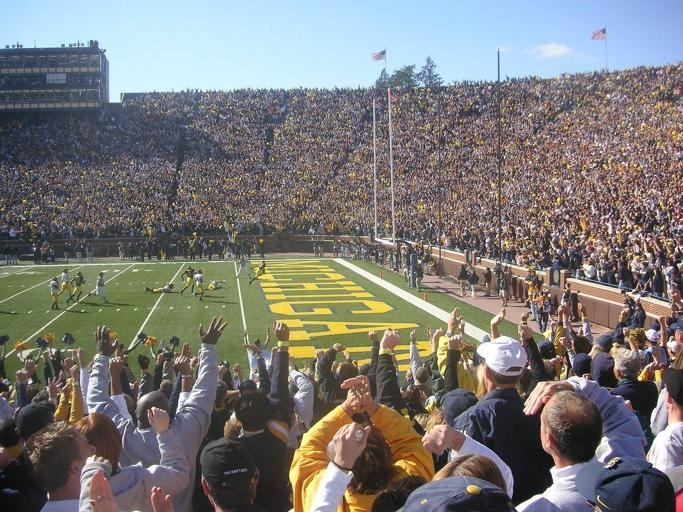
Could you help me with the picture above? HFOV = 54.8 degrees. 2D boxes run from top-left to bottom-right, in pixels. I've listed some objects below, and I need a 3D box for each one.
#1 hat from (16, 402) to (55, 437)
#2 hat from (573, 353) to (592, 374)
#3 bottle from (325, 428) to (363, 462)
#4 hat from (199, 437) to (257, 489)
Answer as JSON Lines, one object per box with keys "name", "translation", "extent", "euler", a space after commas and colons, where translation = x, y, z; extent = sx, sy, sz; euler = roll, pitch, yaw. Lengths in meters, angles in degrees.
{"name": "hat", "translation": [-3.000, 1.604, 6.418], "extent": [0.242, 0.197, 0.356], "euler": [23, 33, 0]}
{"name": "hat", "translation": [3.044, 1.342, 8.311], "extent": [0.187, 0.263, 0.265], "euler": [5, 17, 22]}
{"name": "bottle", "translation": [0.021, 1.468, 4.968], "extent": [0.213, 0.118, 0.314], "euler": [13, 53, 31]}
{"name": "hat", "translation": [-0.958, 1.732, 5.488], "extent": [0.441, 0.341, 0.251], "euler": [0, 5, 6]}
